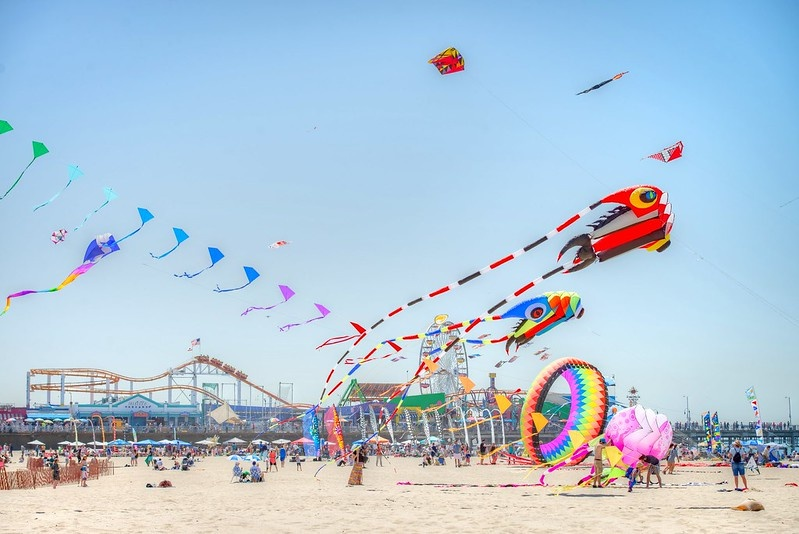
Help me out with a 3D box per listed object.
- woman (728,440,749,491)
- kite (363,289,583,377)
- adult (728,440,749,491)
[{"bbox_3d":[10.723,6.240,25.612,0.563,1.480,0.562,1,-6,-13],"label":"woman"},{"bbox_3d":[2.462,2.386,28.653,8.178,1.907,2.866,-13,4,9],"label":"kite"},{"bbox_3d":[10.744,6.240,25.616,0.556,1.493,0.546,0,-6,1],"label":"adult"}]
